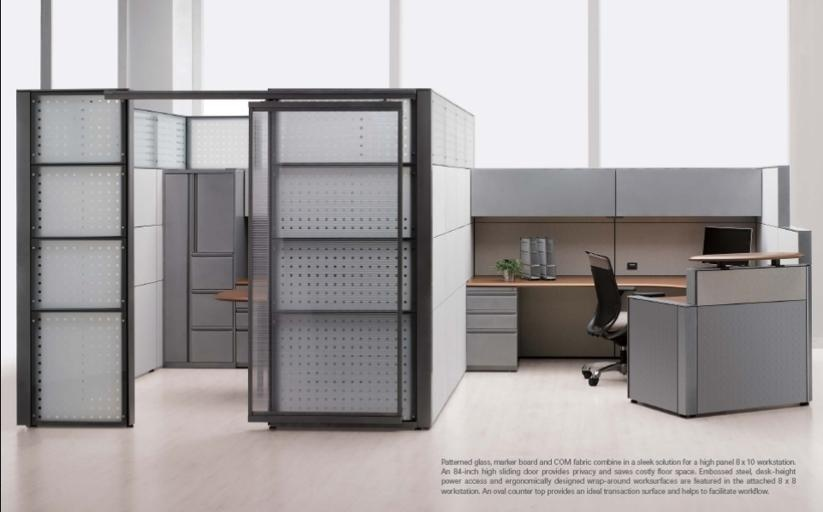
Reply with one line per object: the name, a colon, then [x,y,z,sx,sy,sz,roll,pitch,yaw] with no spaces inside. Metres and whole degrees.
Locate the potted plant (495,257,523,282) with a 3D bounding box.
potted plant: [1.335,0.175,10.344,0.341,0.203,0.305,0,1,-13]

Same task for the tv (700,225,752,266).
tv: [4.104,-0.195,9.831,0.505,0.529,0.814,2,-1,11]

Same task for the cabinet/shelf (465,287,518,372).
cabinet/shelf: [0.920,0.992,10.420,0.889,1.117,0.867,2,-5,-15]

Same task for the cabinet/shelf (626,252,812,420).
cabinet/shelf: [3.607,0.914,9.054,1.819,1.586,1.293,-1,1,-20]

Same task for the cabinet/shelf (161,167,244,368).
cabinet/shelf: [-2.886,0.175,10.488,1.186,2.715,0.579,1,14,6]

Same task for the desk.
desk: [2.159,0.868,9.870,2.353,1.053,0.944,1,8,4]
